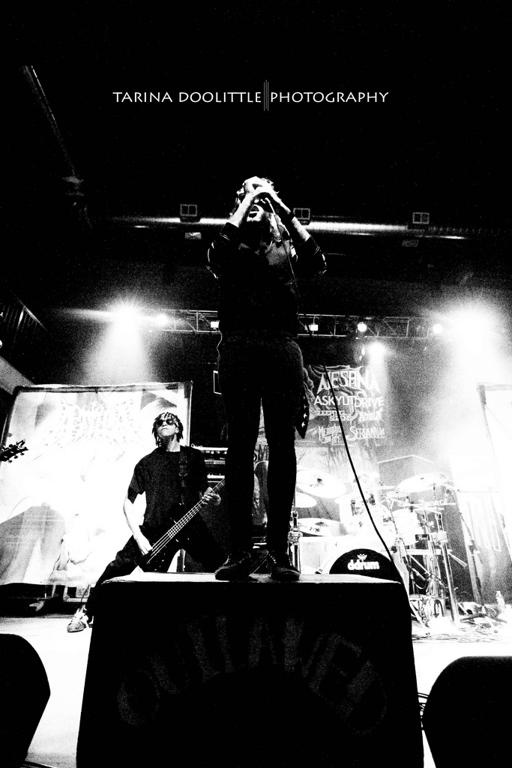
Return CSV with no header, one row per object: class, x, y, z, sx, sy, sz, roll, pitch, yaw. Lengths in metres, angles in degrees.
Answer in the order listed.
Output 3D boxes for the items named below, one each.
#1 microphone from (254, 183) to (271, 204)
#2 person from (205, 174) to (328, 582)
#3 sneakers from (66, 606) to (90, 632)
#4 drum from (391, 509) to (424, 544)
microphone,0.015,-0.611,1.740,0.015,0.066,0.042,12,20,19
person,0.041,-0.149,1.638,0.380,1.425,0.377,3,-18,-7
sneakers,-1.299,1.755,4.036,0.082,0.129,0.283,1,-31,-4
drum,1.398,1.305,5.092,0.236,0.330,0.395,-15,-27,37
